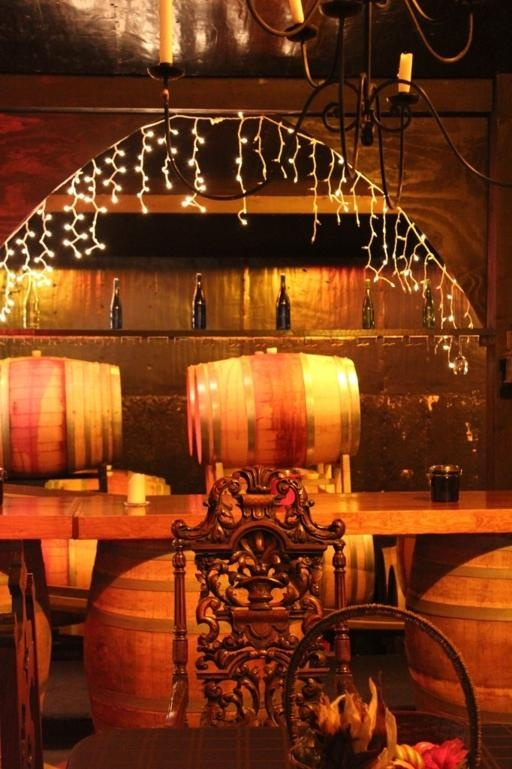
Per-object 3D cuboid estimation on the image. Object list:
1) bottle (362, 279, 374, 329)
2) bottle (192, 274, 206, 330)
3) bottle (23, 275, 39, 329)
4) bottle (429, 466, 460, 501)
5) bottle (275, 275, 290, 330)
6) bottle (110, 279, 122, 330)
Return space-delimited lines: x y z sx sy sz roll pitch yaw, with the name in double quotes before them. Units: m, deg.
"bottle" 0.543 -0.399 5.209 0.059 0.256 0.079 -2 -7 9
"bottle" -0.281 -0.404 5.087 0.064 0.314 0.227 0 -7 -4
"bottle" -1.096 -0.404 5.135 0.079 0.265 0.028 1 -7 -12
"bottle" 0.514 0.270 2.895 0.090 0.097 0.083 2 -6 -1
"bottle" 0.123 -0.407 5.148 0.079 0.290 0.137 -1 -7 2
"bottle" -0.682 -0.391 5.120 0.058 0.263 0.114 0 -7 -7
